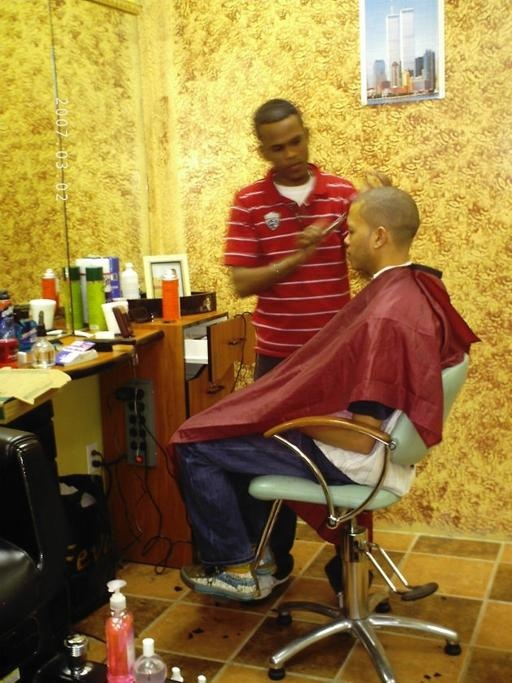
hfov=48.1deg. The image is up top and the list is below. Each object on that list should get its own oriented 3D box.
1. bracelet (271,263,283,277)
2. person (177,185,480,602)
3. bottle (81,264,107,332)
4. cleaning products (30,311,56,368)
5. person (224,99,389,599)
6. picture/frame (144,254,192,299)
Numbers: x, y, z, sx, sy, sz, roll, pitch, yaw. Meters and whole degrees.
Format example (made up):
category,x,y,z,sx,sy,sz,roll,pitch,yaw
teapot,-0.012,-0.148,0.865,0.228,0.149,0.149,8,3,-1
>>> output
category,x,y,z,sx,sy,sz,roll,pitch,yaw
bracelet,0.059,-0.208,1.675,0.031,0.031,0.038,-1,-13,-1
person,0.140,0.229,1.449,0.733,1.188,0.367,1,6,43
bottle,-0.555,-0.145,1.975,0.070,0.223,0.136,-4,4,-16
cleaning products,-0.589,-0.003,1.569,0.071,0.120,0.066,-6,16,-34
person,0.037,0.003,2.006,0.610,1.399,0.532,9,14,1
picture/frame,-0.362,-0.278,2.316,0.198,0.182,0.123,-4,18,-21
